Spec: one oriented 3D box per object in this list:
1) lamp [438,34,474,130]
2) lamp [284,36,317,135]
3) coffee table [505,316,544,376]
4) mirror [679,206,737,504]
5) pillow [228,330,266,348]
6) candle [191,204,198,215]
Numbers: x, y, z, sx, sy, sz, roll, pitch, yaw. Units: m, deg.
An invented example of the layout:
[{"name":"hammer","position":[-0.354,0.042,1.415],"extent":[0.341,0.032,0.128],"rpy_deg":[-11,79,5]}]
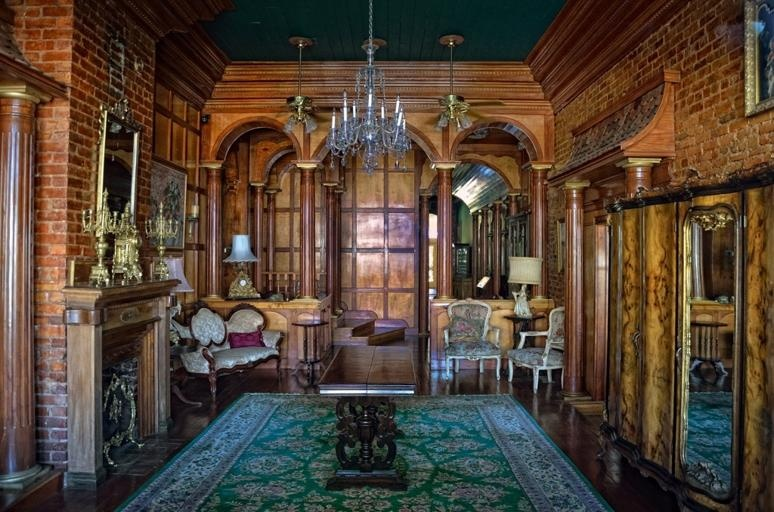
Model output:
[{"name":"lamp","position":[1.040,-2.599,8.761],"extent":[0.515,1.262,1.615],"rpy_deg":[1,7,5]},{"name":"lamp","position":[-1.379,-2.599,8.991],"extent":[0.441,1.288,1.366],"rpy_deg":[-1,7,-8]},{"name":"coffee table","position":[2.197,1.282,9.351],"extent":[0.618,0.701,0.621],"rpy_deg":[1,-2,2]},{"name":"mirror","position":[2.701,0.775,4.792],"extent":[0.217,2.371,0.633],"rpy_deg":[-2,6,-15]},{"name":"pillow","position":[-2.215,1.307,8.956],"extent":[0.380,0.267,0.100],"rpy_deg":[1,-31,-20]},{"name":"candle","position":[-3.025,-0.706,8.984],"extent":[0.072,0.167,0.144],"rpy_deg":[-2,7,-19]}]
